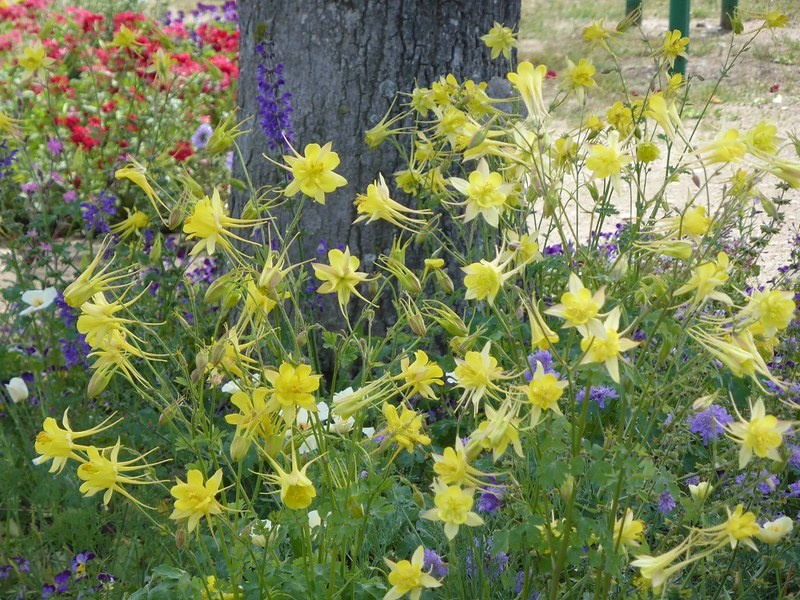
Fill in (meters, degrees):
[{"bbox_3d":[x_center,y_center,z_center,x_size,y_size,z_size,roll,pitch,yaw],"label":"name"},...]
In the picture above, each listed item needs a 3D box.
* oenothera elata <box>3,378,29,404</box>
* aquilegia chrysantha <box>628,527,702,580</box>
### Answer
[{"bbox_3d":[-1.872,0.430,5.560,0.076,0.111,0.085,-32,7,2],"label":"oenothera elata"},{"bbox_3d":[0.965,0.911,4.170,0.231,0.135,0.159,-42,-3,8],"label":"aquilegia chrysantha"}]
